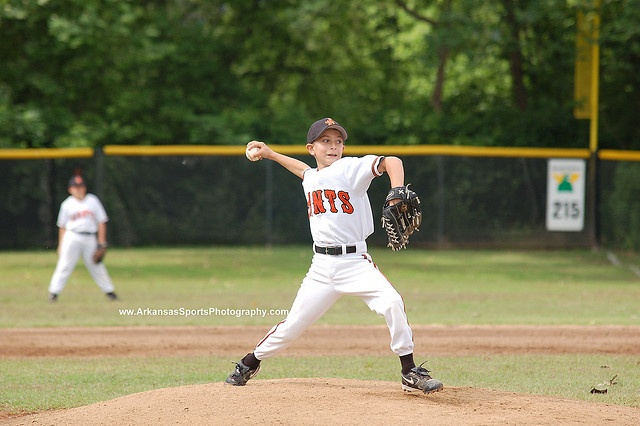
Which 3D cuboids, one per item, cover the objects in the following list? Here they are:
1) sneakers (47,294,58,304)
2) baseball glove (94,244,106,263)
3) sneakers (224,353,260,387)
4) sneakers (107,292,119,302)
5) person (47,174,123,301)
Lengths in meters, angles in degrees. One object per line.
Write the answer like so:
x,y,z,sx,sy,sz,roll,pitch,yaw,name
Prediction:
-4.462,1.445,20.453,0.209,0.211,0.206,5,-10,-32,sneakers
-3.659,0.674,20.203,0.191,0.344,0.268,0,10,3,baseball glove
-1.001,2.095,16.107,0.258,0.595,0.275,46,9,21,sneakers
-3.559,1.432,20.694,0.175,0.057,0.194,31,16,36,sneakers
-3.990,0.453,20.212,1.079,2.153,0.500,-2,10,-11,person
